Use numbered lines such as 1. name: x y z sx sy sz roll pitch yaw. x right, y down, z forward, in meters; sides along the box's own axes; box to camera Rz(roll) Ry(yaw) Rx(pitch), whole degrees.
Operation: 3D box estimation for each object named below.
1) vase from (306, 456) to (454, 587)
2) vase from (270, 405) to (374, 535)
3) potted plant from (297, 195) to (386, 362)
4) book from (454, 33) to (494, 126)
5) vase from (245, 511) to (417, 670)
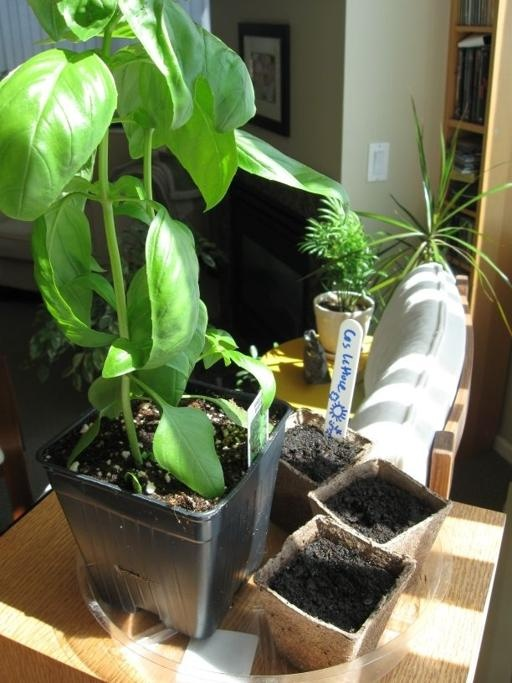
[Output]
1. vase: 0.162 0.232 0.743 0.156 0.146 0.174 -9 17 -27
2. vase: 0.099 0.209 0.895 0.147 0.140 0.186 18 33 26
3. potted plant: 0.337 -0.223 1.878 0.324 0.568 0.281 -3 13 -28
4. book: 0.902 -1.108 2.187 0.058 0.339 0.185 -11 25 -24
5. vase: 0.089 0.244 0.619 0.155 0.133 0.172 15 23 34
